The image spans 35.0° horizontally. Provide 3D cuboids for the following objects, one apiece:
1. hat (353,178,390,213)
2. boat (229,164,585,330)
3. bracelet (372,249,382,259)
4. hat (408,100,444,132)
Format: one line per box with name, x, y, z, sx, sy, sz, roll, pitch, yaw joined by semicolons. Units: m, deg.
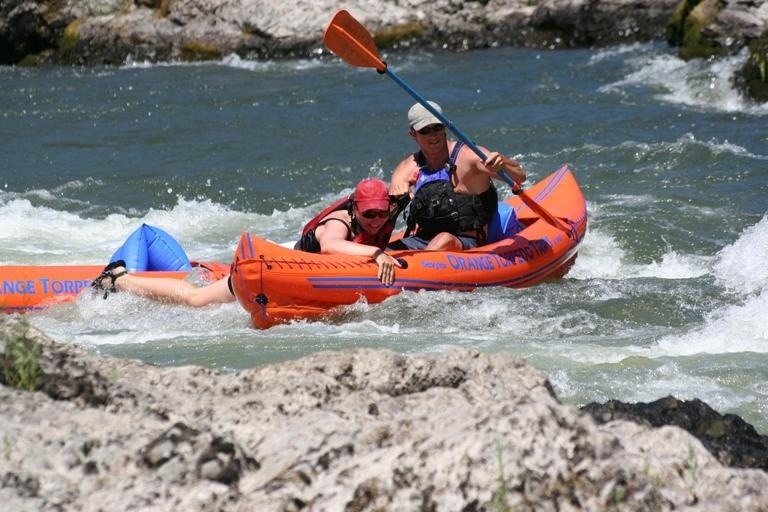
hat;-0.173;-0.831;16.880;0.497;0.433;0.291;-2;18;0
boat;0.432;0.051;17.417;4.522;1.237;2.119;-14;22;-19
bracelet;-0.076;-0.023;16.878;0.152;0.105;0.098;-15;22;-37
hat;0.549;-1.976;17.380;0.395;0.273;0.508;-14;-2;-5
